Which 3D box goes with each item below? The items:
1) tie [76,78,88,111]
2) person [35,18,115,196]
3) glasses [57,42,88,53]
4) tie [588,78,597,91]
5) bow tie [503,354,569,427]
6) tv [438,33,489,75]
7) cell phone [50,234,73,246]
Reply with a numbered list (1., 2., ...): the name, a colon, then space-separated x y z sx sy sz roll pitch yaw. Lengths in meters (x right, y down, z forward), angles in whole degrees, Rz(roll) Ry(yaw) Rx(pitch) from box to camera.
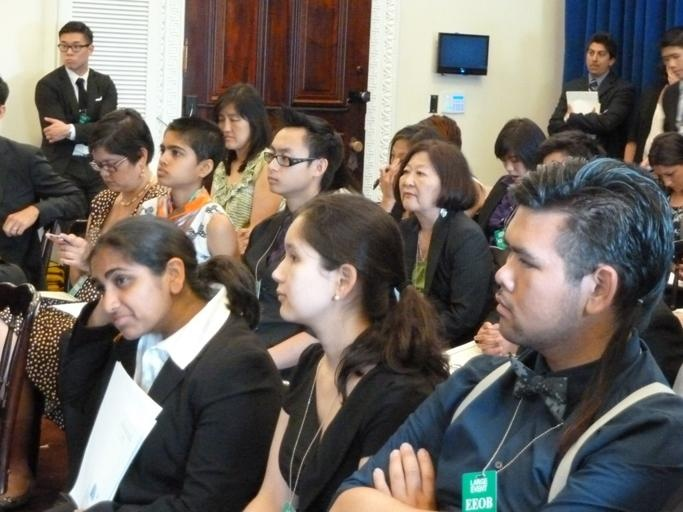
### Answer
1. tie: -2.241 -1.396 4.998 0.058 0.266 0.067 2 5 1
2. person: -2.389 -0.855 5.215 0.621 2.288 0.687 -3 19 -36
3. glasses: -2.248 -1.740 4.845 0.244 0.083 0.067 3 9 3
4. tie: 2.333 -1.585 5.378 0.079 0.123 0.035 -2 -10 32
5. bow tie: 0.392 0.265 1.161 0.036 0.086 0.136 -4 11 -38
6. tv: 1.198 -1.987 5.693 0.553 0.381 0.047 -3 19 -16
7. cell phone: -1.192 -0.084 2.456 0.080 0.022 0.063 15 -19 -18
